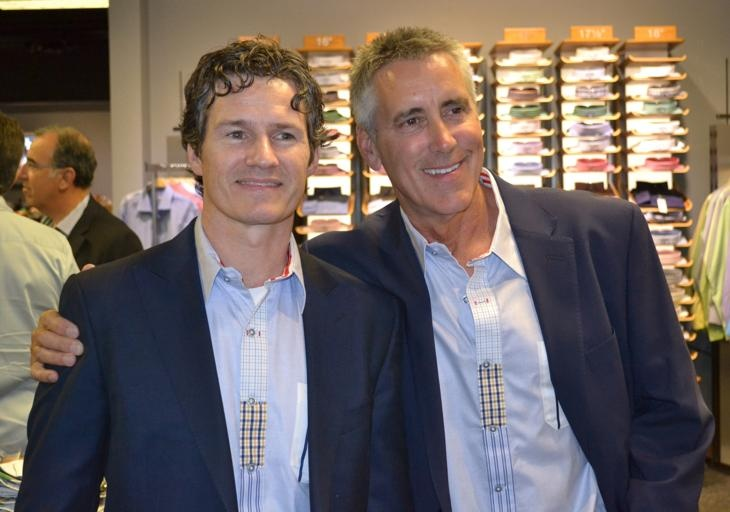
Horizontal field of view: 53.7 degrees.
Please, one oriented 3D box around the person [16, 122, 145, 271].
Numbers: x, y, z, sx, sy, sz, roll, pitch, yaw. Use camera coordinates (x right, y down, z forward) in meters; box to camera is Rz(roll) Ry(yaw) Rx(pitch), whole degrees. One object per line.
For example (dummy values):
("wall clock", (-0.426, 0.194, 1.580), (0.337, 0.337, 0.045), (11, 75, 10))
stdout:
("person", (-2.088, -0.312, 5.120), (1.114, 1.122, 0.617), (10, 11, 38))
